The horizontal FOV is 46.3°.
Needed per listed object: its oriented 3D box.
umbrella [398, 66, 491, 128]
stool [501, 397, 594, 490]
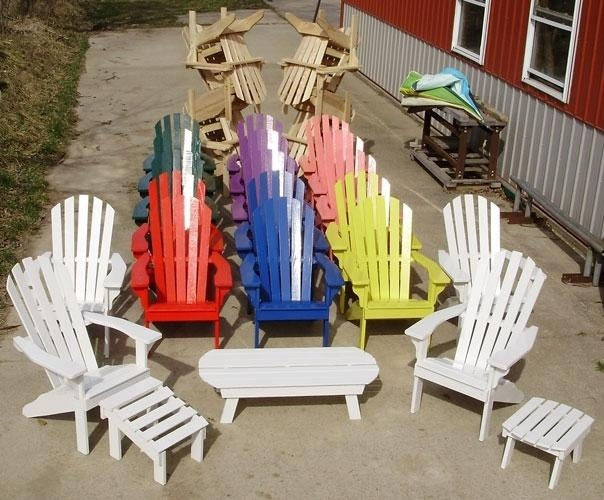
[{"bbox_3d":[1.868,-2.099,9.428,0.945,0.388,0.822,0,45,-4],"label":"umbrella"},{"bbox_3d":[1.749,1.243,5.018,0.472,0.431,0.618,22,43,36],"label":"stool"}]
